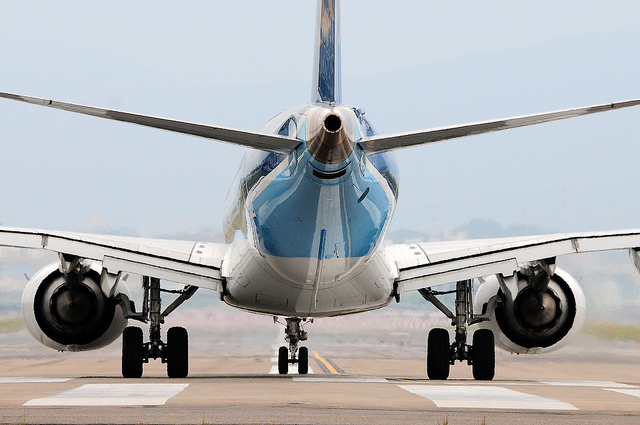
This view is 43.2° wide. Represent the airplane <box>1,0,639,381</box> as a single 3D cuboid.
[{"bbox_3d":[-0.169,0.477,15.365,9.359,3.448,8.075,1,-3,-3],"label":"airplane"}]
